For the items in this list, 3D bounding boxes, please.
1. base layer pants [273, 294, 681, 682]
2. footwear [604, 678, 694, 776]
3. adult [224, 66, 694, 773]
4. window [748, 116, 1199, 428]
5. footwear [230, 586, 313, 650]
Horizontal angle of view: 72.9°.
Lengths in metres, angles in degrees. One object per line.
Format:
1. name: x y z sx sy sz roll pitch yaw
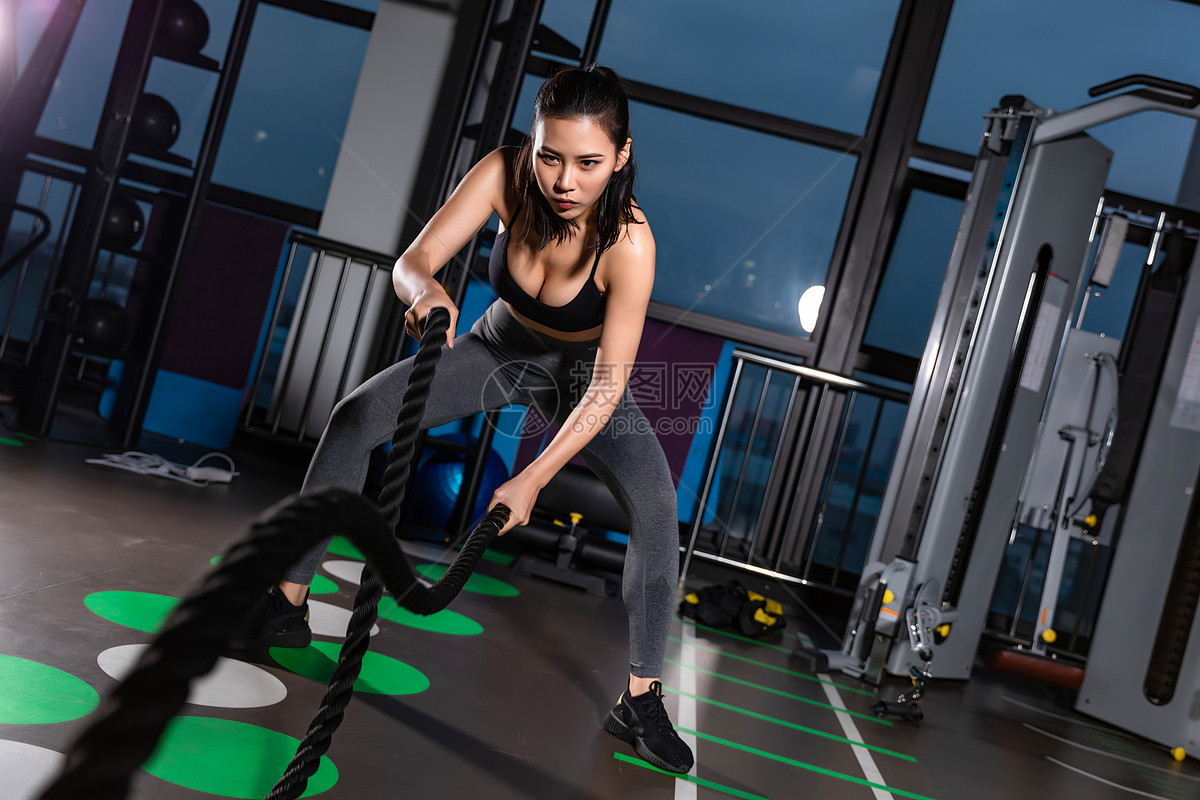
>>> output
1. base layer pants: -0.235 0.083 3.176 1.532 1.746 1.181 5 -2 5
2. footwear: 0.192 1.122 2.823 0.351 0.231 0.131 22 5 43
3. adult: -0.192 -0.020 2.552 1.323 1.940 1.259 19 12 32
4. window: 1.964 -0.780 5.477 1.738 1.759 0.443 14 5 -5
5. footwear: -1.133 0.723 2.766 0.319 0.239 0.125 0 2 5
